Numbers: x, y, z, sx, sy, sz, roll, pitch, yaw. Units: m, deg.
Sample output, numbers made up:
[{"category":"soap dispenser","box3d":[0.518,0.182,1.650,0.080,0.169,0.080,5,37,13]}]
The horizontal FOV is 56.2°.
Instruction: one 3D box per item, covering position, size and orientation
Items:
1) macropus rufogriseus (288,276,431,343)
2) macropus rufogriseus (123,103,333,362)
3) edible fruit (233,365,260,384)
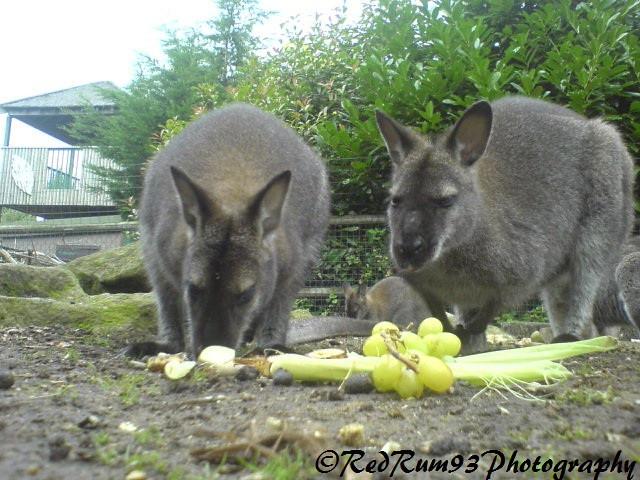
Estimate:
[{"category":"macropus rufogriseus","box3d":[0.790,0.943,7.447,0.612,0.923,1.816,-4,0,34]},{"category":"macropus rufogriseus","box3d":[-0.807,-0.085,5.000,1.254,1.299,2.547,1,11,1]},{"category":"edible fruit","box3d":[-0.508,0.938,4.197,0.109,0.058,0.104,-11,18,-37]}]
